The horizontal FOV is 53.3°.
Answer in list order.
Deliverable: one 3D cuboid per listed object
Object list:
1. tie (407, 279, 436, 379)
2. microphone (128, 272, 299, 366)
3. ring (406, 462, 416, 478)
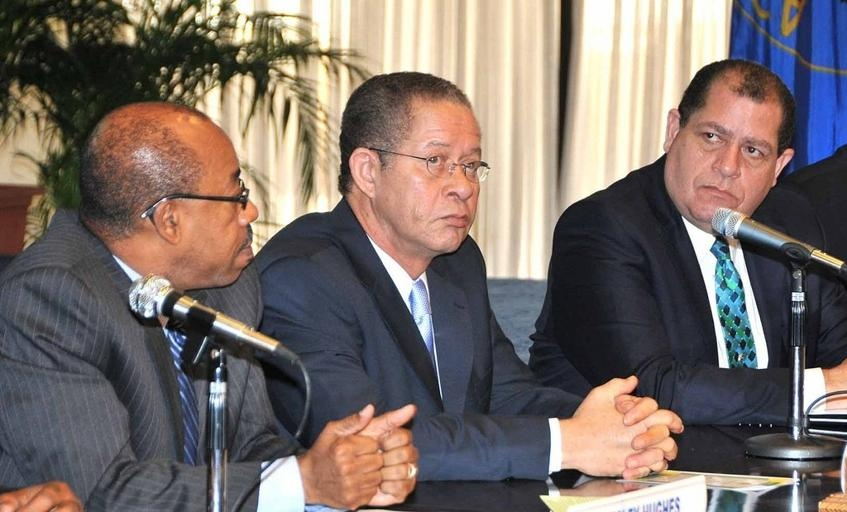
[{"bbox_3d":[-0.005,0.282,3.308,0.082,0.383,0.057,-4,-27,-5],"label":"tie"},{"bbox_3d":[-0.698,0.206,2.742,0.569,0.130,0.146,21,12,10],"label":"microphone"},{"bbox_3d":[-0.037,0.685,2.706,0.031,0.040,0.014,1,-8,-23],"label":"ring"}]
